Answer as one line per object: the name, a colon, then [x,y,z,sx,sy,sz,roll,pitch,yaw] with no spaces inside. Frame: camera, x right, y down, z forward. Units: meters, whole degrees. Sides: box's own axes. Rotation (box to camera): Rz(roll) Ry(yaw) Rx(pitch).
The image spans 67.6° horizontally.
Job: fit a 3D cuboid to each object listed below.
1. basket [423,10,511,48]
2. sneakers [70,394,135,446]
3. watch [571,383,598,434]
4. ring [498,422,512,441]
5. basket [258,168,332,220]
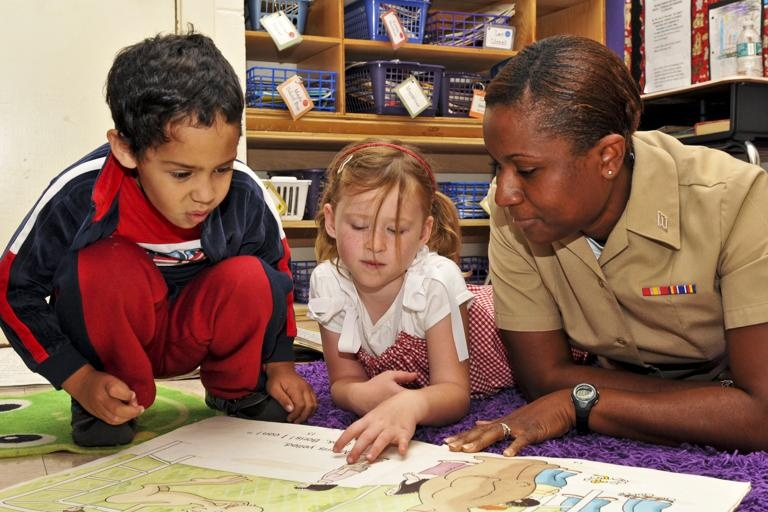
basket: [0.415,-1.289,3.261,0.298,0.147,0.430,0,4,-10]
sneakers: [-0.649,0.374,1.300,0.093,0.045,0.112,1,-3,-8]
watch: [0.439,0.336,1.257,0.069,0.113,0.098,-2,53,25]
ring: [0.259,0.376,1.227,0.014,0.032,0.027,-5,8,-11]
basket: [-0.400,-0.339,2.993,0.441,0.262,0.335,-1,5,-1]
